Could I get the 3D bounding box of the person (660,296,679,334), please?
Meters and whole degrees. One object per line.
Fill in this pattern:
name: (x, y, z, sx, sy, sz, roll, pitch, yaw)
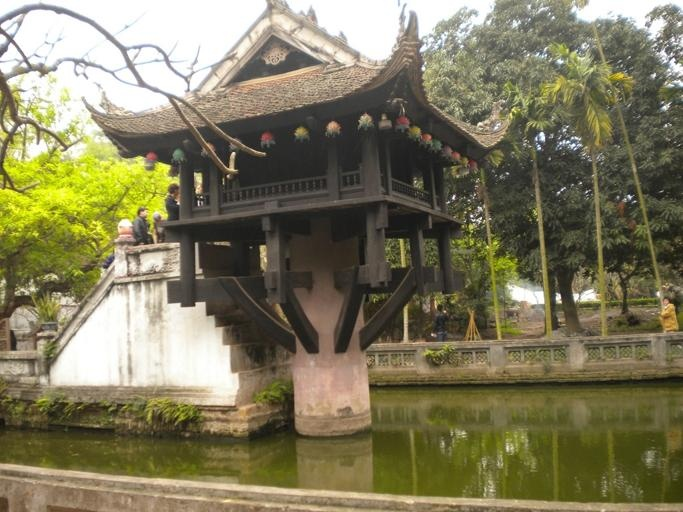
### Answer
person: (10.746, 1.981, 23.918, 0.512, 1.070, 1.324, 0, 4, 24)
